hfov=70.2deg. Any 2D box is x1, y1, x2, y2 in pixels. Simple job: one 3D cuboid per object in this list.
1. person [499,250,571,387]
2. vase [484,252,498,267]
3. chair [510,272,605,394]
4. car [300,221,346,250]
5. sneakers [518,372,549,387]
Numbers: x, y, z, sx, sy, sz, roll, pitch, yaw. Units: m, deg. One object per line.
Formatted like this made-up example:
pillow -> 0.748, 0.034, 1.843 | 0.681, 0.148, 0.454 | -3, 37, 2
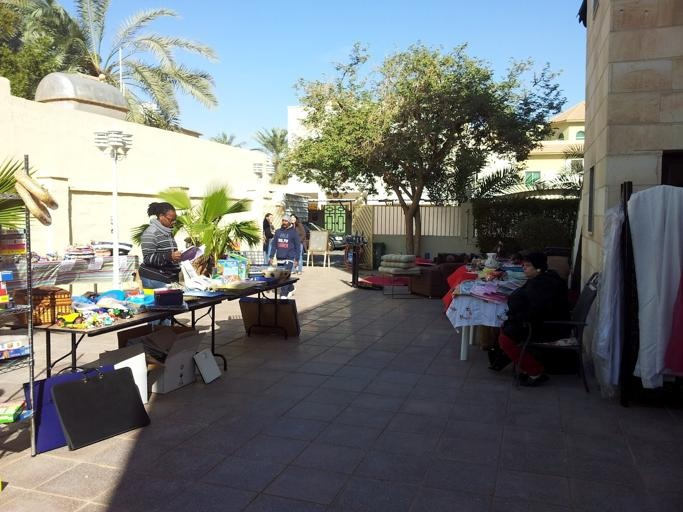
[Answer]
person -> 2.463, 0.773, 6.036 | 0.757, 1.596, 0.690 | -3, 7, -34
vase -> 2.658, 0.056, 8.663 | 0.259, 0.254, 0.256 | 0, 0, -36
chair -> 2.792, 0.894, 6.712 | 1.335, 1.968, 1.239 | 2, 0, 14
car -> -1.049, -1.098, 26.550 | 2.474, 1.079, 1.165 | 0, 9, 9
sneakers -> 2.384, 1.522, 6.008 | 0.286, 0.126, 0.100 | -13, 29, 27
